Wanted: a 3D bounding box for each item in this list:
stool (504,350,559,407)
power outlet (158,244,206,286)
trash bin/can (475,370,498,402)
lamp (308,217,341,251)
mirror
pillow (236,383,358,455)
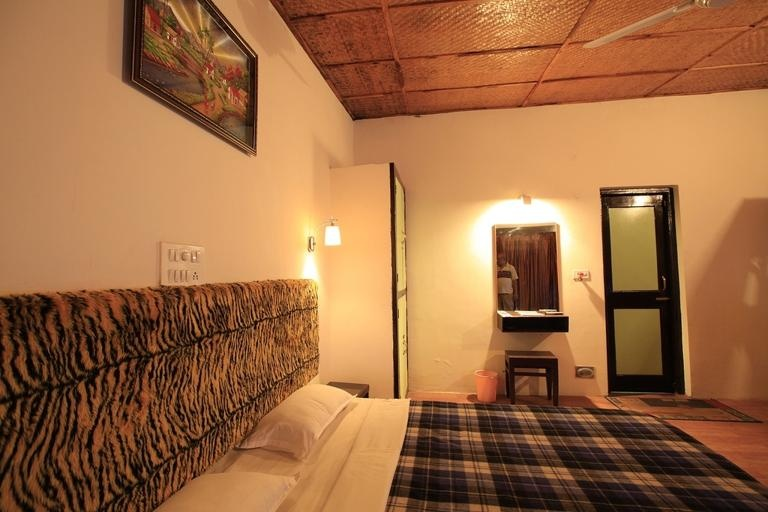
[{"bbox_3d":[1.434,1.231,4.998,0.500,0.516,0.498,0,-14,2],"label":"stool"},{"bbox_3d":[-1.206,0.055,2.918,0.033,0.225,0.256,-1,-1,24],"label":"power outlet"},{"bbox_3d":[1.007,1.322,5.010,0.269,0.231,0.237,2,-2,0],"label":"trash bin/can"},{"bbox_3d":[-0.465,-0.165,4.354,0.356,0.349,0.195,-4,-6,28],"label":"lamp"},{"bbox_3d":[1.556,0.157,5.255,0.942,1.271,0.088,-1,-4,5],"label":"mirror"},{"bbox_3d":[-0.584,1.061,3.189,0.431,0.159,0.758,1,-1,18],"label":"pillow"}]
